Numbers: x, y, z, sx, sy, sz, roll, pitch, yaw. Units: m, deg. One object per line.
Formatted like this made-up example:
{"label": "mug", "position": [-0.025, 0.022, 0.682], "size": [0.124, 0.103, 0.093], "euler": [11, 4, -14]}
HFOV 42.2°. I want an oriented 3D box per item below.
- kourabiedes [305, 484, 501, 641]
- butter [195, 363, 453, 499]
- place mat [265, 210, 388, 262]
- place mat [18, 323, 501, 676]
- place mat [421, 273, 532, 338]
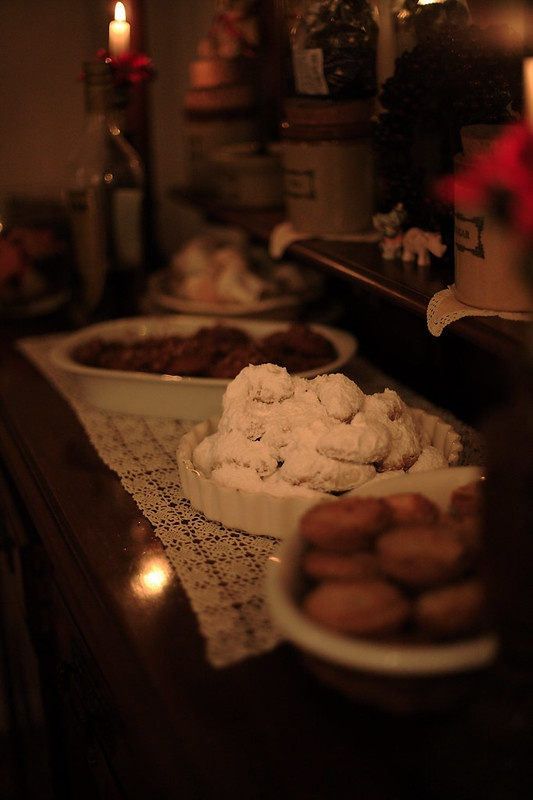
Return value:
{"label": "kourabiedes", "position": [0.038, 0.035, 0.196], "size": [0.054, 0.015, 0.051], "euler": [-13, 23, -31]}
{"label": "butter", "position": [0.023, 0.001, 0.455], "size": [0.121, 0.041, 0.113], "euler": [8, 23, 28]}
{"label": "place mat", "position": [0.063, -0.183, 0.783], "size": [0.133, 0.041, 0.031], "euler": [2, 19, 21]}
{"label": "place mat", "position": [-0.050, 0.045, 0.443], "size": [0.146, 0.007, 0.305], "euler": [-11, 23, -17]}
{"label": "place mat", "position": [0.148, -0.067, 0.506], "size": [0.073, 0.014, 0.058], "euler": [-13, 25, -31]}
